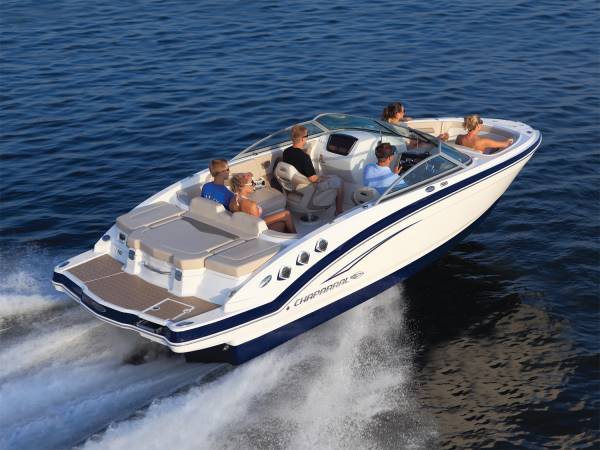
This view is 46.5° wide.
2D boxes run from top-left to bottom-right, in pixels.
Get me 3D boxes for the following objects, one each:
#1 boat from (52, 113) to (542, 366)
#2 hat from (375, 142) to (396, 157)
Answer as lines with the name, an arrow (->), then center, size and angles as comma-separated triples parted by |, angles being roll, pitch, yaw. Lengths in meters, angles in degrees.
boat -> 1.436, -0.112, 11.790 | 10.061, 2.113, 3.264 | -17, 34, -24
hat -> 1.358, -1.200, 11.095 | 0.330, 0.133, 0.333 | 2, 22, 23
